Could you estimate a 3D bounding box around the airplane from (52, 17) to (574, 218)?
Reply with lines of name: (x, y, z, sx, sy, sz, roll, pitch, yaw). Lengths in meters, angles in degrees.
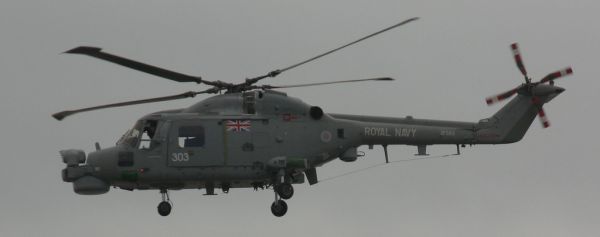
airplane: (-0.349, 1.568, 56.295, 25.949, 6.283, 16.266, 1, -9, -1)
